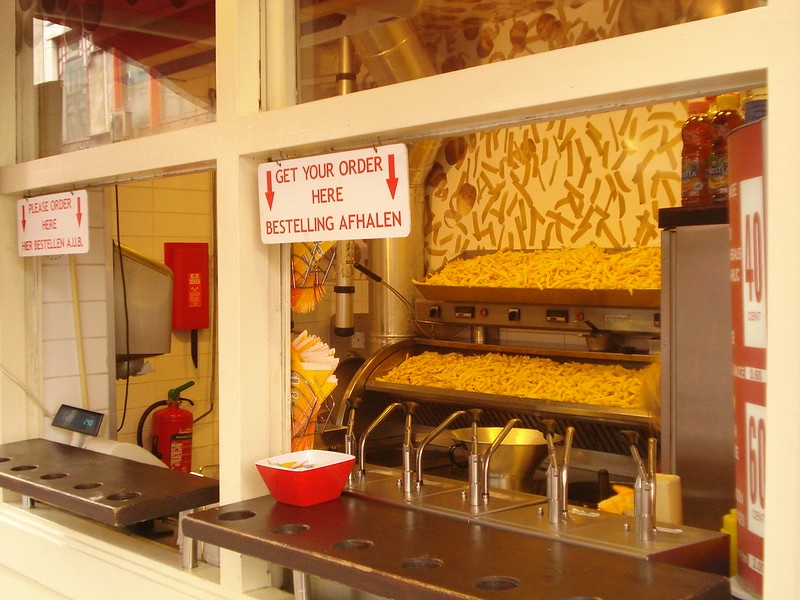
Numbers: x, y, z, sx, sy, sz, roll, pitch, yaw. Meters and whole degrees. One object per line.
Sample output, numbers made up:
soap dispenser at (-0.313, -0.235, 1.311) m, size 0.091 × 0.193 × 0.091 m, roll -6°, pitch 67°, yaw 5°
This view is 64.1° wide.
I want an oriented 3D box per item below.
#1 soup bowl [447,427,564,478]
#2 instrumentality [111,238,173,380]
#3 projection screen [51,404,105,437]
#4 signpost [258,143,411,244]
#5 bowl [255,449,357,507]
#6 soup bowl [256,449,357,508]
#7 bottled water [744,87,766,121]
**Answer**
soup bowl at (0.553, 0.748, 3.159) m, size 0.492 × 0.152 × 0.454 m, roll 0°, pitch -4°, yaw 0°
instrumentality at (-1.531, 0.026, 3.812) m, size 0.330 × 0.818 × 0.225 m, roll -3°, pitch 0°, yaw -21°
projection screen at (-1.559, 0.598, 3.093) m, size 0.138 × 0.164 × 0.414 m, roll -3°, pitch 1°, yaw -45°
signpost at (-0.219, -0.311, 1.952) m, size 0.668 × 0.263 × 0.010 m, roll 2°, pitch 7°, yaw 40°
bowl at (-0.308, 0.588, 2.083) m, size 0.192 × 0.173 × 0.246 m, roll -2°, pitch 1°, yaw 40°
soup bowl at (-0.312, 0.594, 2.118) m, size 0.246 × 0.113 × 0.296 m, roll -2°, pitch -4°, yaw 32°
bottled water at (0.920, -0.507, 1.657) m, size 0.051 × 0.090 × 0.251 m, roll -2°, pitch 0°, yaw 29°
